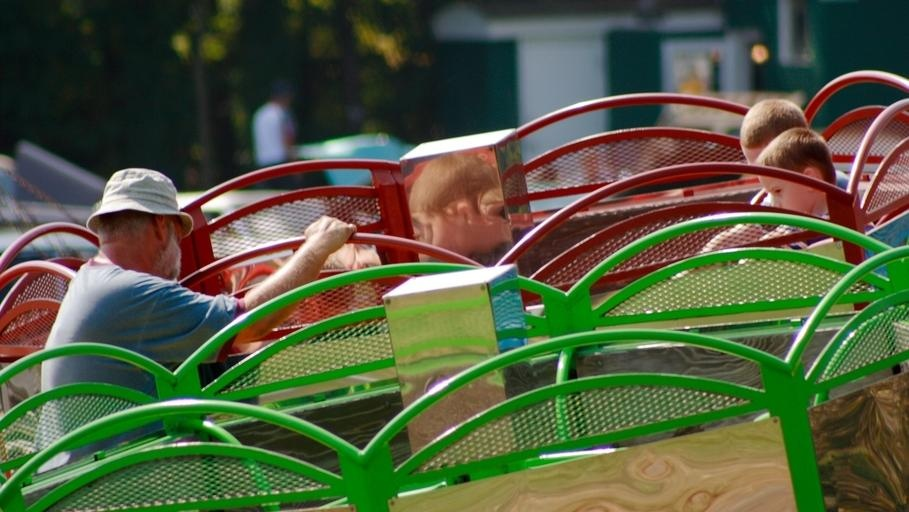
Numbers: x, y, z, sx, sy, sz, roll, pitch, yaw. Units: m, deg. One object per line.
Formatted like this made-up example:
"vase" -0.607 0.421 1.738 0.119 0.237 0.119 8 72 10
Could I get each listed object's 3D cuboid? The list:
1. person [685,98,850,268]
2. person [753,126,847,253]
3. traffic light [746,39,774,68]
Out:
"person" 3.204 -0.829 20.746 1.077 1.742 1.228 5 -6 -43
"person" 3.453 -0.696 20.509 0.790 1.218 0.627 -3 2 7
"traffic light" 3.989 -2.678 26.588 0.444 0.368 0.093 0 4 18
